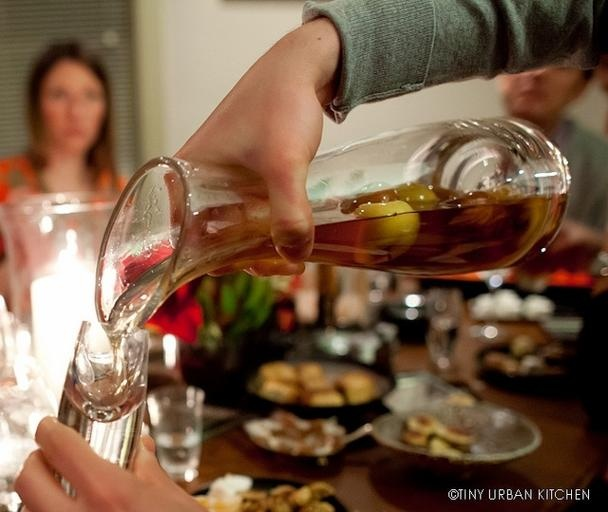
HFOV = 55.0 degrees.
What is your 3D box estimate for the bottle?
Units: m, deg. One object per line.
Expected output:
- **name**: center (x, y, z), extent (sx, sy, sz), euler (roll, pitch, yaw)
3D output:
- **bottle**: center (0.036, -0.014, 0.776), extent (0.668, 0.227, 0.251), euler (-9, 24, -23)
